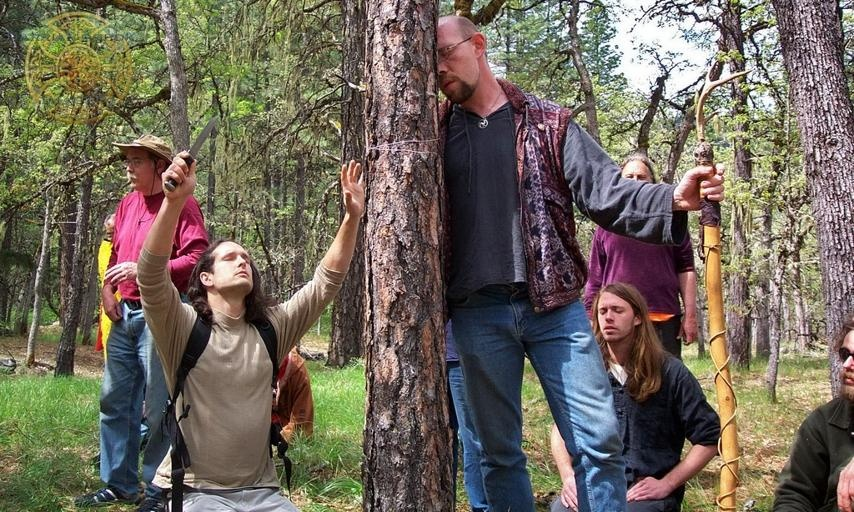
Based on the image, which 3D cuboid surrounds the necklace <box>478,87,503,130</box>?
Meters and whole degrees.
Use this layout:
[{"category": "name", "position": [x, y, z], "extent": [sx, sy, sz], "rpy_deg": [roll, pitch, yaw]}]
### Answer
[{"category": "necklace", "position": [0.611, -1.461, 7.664], "extent": [0.288, 0.391, 0.124], "rpy_deg": [-1, -4, 14]}]

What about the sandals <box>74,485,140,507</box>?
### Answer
[{"category": "sandals", "position": [-3.681, 2.752, 8.997], "extent": [0.636, 0.250, 0.233], "rpy_deg": [11, -12, -17]}]

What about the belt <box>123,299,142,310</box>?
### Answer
[{"category": "belt", "position": [-3.355, 0.552, 8.913], "extent": [0.153, 0.086, 0.205], "rpy_deg": [23, 0, -10]}]
